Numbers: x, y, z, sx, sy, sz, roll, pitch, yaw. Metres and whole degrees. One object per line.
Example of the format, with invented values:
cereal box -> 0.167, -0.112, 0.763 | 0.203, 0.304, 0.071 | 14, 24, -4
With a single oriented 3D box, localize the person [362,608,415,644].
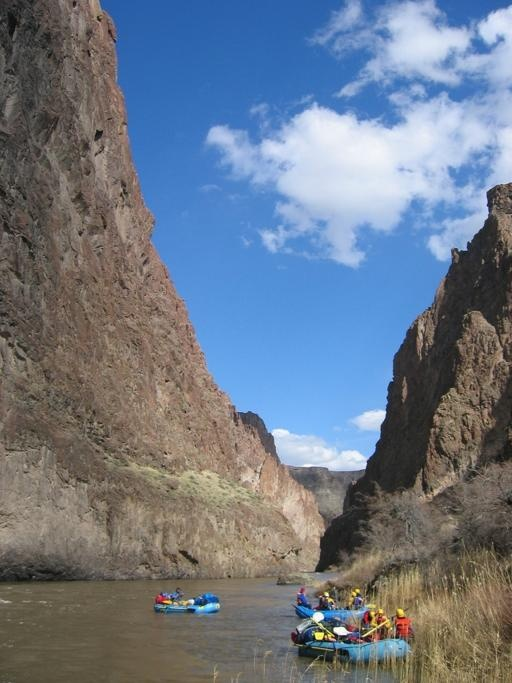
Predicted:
person -> 3.583, 7.541, 21.259 | 0.845, 0.704, 1.354 | 33, -31, -30

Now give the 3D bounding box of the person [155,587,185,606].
person -> -3.266, 9.806, 30.453 | 1.460, 0.583, 1.079 | 6, -17, -19

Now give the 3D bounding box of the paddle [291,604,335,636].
paddle -> 1.679, 8.071, 23.099 | 0.640, 0.611, 1.984 | -23, -13, -19

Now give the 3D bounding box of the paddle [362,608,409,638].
paddle -> 3.535, 7.460, 21.233 | 0.818, 0.590, 1.356 | 10, -21, -9
